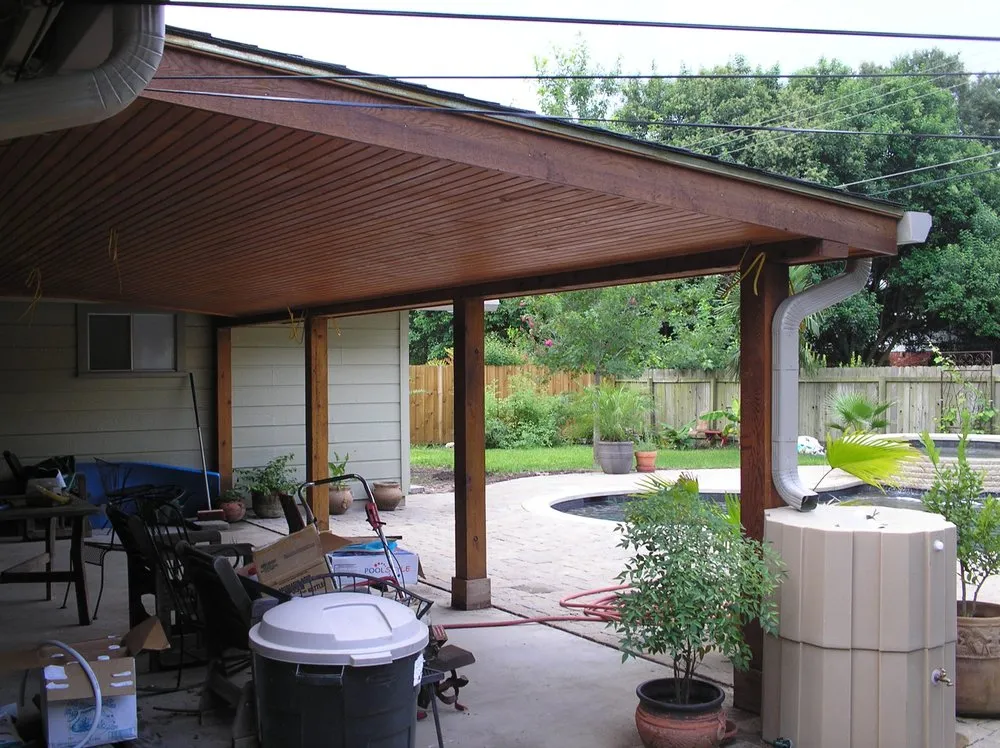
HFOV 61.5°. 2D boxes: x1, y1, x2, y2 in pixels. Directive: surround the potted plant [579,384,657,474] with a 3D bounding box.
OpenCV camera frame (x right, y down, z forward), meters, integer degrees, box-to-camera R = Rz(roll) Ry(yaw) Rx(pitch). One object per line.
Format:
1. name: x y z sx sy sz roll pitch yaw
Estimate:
1. potted plant: 2.101 0.920 15.623 1.230 1.711 2.787 2 -3 8
